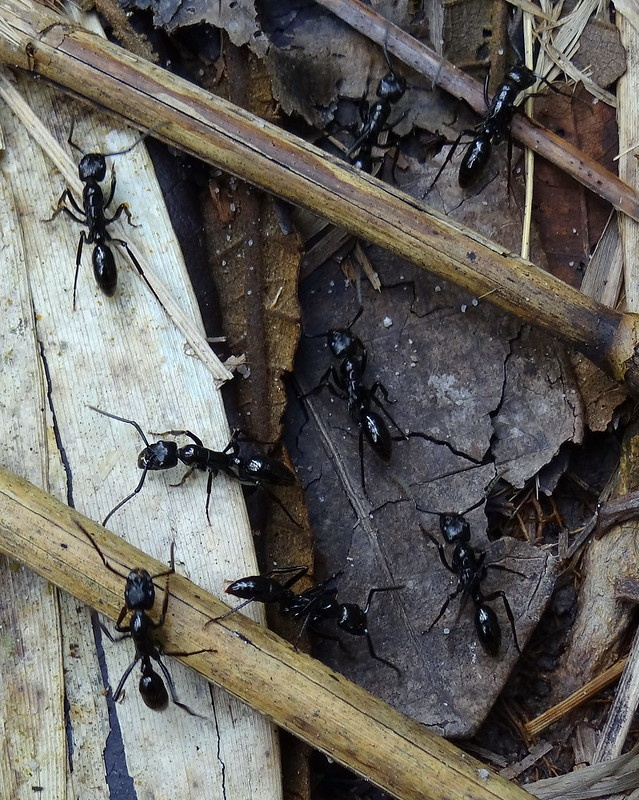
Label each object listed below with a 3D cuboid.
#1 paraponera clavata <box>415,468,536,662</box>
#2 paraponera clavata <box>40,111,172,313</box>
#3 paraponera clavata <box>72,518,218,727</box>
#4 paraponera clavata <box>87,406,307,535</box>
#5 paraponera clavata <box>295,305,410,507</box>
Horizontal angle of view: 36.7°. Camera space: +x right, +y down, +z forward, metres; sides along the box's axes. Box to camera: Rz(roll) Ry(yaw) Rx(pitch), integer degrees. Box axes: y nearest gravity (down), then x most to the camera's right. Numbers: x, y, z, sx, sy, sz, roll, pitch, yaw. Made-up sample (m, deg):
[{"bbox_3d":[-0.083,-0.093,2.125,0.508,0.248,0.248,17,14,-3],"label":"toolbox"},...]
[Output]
[{"bbox_3d":[0.655,0.724,4.208,0.299,0.160,0.682,-4,62,3],"label":"paraponera clavata"},{"bbox_3d":[-0.971,-0.704,4.229,0.370,0.387,0.600,-21,58,-21],"label":"paraponera clavata"},{"bbox_3d":[-0.676,0.852,3.745,0.385,0.924,0.209,-7,9,8],"label":"paraponera clavata"},{"bbox_3d":[-0.503,0.278,4.142,0.860,0.232,0.430,2,54,-6],"label":"paraponera clavata"},{"bbox_3d":[0.175,0.019,4.431,0.360,0.240,0.740,-18,71,-18],"label":"paraponera clavata"}]
